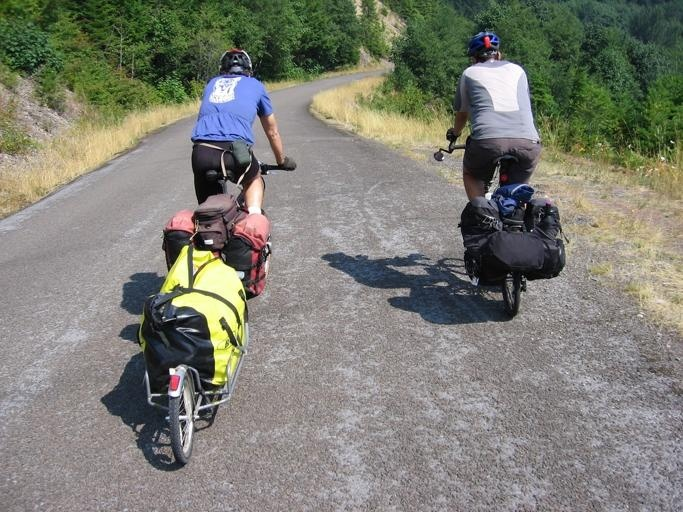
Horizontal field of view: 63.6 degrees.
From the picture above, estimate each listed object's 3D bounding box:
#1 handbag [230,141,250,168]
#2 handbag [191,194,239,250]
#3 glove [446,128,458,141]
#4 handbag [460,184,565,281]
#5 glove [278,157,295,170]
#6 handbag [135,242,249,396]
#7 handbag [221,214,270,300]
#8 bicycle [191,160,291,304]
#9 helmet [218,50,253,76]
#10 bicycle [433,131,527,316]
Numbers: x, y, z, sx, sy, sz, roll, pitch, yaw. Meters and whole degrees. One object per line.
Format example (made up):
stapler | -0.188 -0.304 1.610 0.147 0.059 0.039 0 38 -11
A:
handbag | -0.922 -0.918 4.953 0.129 0.233 0.185 -23 0 38
handbag | -1.045 -0.265 4.760 0.378 0.316 0.556 1 15 19
glove | 1.202 -1.334 6.049 0.134 0.080 0.171 6 18 2
handbag | 1.610 -0.265 5.292 0.766 0.588 0.929 1 22 4
glove | -0.552 -0.940 5.566 0.167 0.080 0.115 4 34 5
handbag | -1.140 0.459 4.279 0.791 0.675 1.208 3 25 4
handbag | -0.901 0.001 5.066 0.415 0.667 0.703 2 26 -2
bicycle | -0.859 -0.286 4.931 0.780 0.718 1.191 -2 33 8
helmet | -1.061 -1.879 5.517 0.278 0.328 0.309 0 58 -6
bicycle | 1.338 -0.396 5.745 1.020 1.072 1.813 -5 30 3
